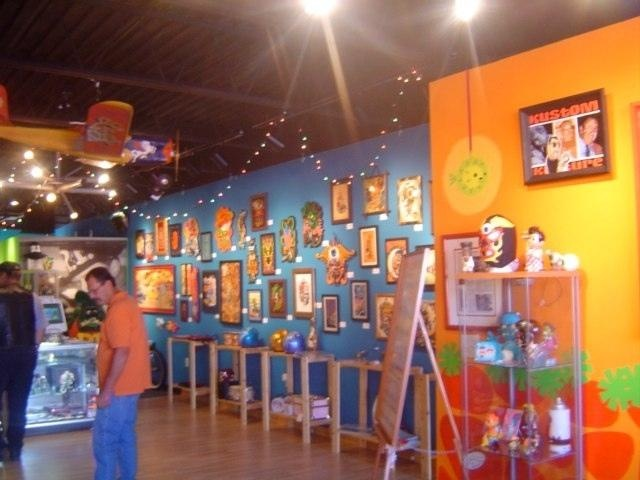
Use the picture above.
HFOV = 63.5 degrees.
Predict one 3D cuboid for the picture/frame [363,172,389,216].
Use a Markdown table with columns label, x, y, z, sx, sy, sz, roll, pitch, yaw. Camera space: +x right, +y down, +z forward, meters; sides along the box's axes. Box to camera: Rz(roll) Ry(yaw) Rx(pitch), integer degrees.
| label | x | y | z | sx | sy | sz | roll | pitch | yaw |
| --- | --- | --- | --- | --- | --- | --- | --- | --- | --- |
| picture/frame | 0.696 | -0.565 | 6.323 | 0.069 | 0.495 | 0.523 | 5 | -6 | -37 |

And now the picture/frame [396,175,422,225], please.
| label | x | y | z | sx | sy | sz | roll | pitch | yaw |
| --- | --- | --- | --- | --- | --- | --- | --- | --- | --- |
| picture/frame | 1.038 | -0.454 | 5.963 | 0.031 | 0.543 | 0.358 | 4 | -7 | -40 |

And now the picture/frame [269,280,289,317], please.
| label | x | y | z | sx | sy | sz | roll | pitch | yaw |
| --- | --- | --- | --- | --- | --- | --- | --- | --- | --- |
| picture/frame | -0.593 | 0.857 | 7.670 | 0.080 | 0.726 | 0.520 | 4 | -7 | -43 |

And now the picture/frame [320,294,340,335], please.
| label | x | y | z | sx | sy | sz | roll | pitch | yaw |
| --- | --- | --- | --- | --- | --- | --- | --- | --- | --- |
| picture/frame | 0.142 | 0.979 | 6.860 | 0.047 | 0.715 | 0.505 | 4 | -6 | -38 |

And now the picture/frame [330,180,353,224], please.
| label | x | y | z | sx | sy | sz | roll | pitch | yaw |
| --- | --- | --- | --- | --- | --- | --- | --- | --- | --- |
| picture/frame | 0.296 | -0.504 | 6.749 | 0.060 | 0.805 | 0.534 | 3 | -5 | -36 |

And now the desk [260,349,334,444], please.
| label | x | y | z | sx | sy | sz | roll | pitch | yaw |
| --- | --- | --- | --- | --- | --- | --- | --- | --- | --- |
| desk | -0.278 | 2.068 | 6.834 | 0.559 | 1.080 | 1.093 | 4 | -6 | -37 |

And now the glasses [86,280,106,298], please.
| label | x | y | z | sx | sy | sz | roll | pitch | yaw |
| --- | --- | --- | --- | --- | --- | --- | --- | --- | --- |
| glasses | -1.856 | 0.404 | 4.331 | 0.131 | 0.090 | 0.170 | 2 | -6 | 41 |

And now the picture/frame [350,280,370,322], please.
| label | x | y | z | sx | sy | sz | roll | pitch | yaw |
| --- | --- | --- | --- | --- | --- | --- | --- | --- | --- |
| picture/frame | 0.505 | 0.755 | 6.486 | 0.032 | 0.511 | 0.318 | 3 | -7 | -38 |

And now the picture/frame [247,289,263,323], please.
| label | x | y | z | sx | sy | sz | roll | pitch | yaw |
| --- | --- | --- | --- | --- | --- | --- | --- | --- | --- |
| picture/frame | -1.017 | 1.020 | 8.137 | 0.051 | 0.682 | 0.508 | 3 | -6 | -41 |

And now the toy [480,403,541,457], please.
| label | x | y | z | sx | sy | sz | roll | pitch | yaw |
| --- | --- | --- | --- | --- | --- | --- | --- | --- | --- |
| toy | 1.381 | 1.329 | 3.749 | 0.407 | 0.358 | 0.271 | -4 | -6 | 26 |

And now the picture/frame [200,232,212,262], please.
| label | x | y | z | sx | sy | sz | roll | pitch | yaw |
| --- | --- | --- | --- | --- | --- | --- | --- | --- | --- |
| picture/frame | -2.043 | 0.110 | 9.294 | 0.034 | 0.657 | 0.473 | 4 | -7 | -40 |

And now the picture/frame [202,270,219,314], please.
| label | x | y | z | sx | sy | sz | roll | pitch | yaw |
| --- | --- | --- | --- | --- | --- | --- | --- | --- | --- |
| picture/frame | -1.929 | 0.902 | 9.153 | 0.096 | 1.011 | 0.715 | 3 | -6 | -39 |

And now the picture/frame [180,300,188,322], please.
| label | x | y | z | sx | sy | sz | roll | pitch | yaw |
| --- | --- | --- | --- | --- | --- | --- | --- | --- | --- |
| picture/frame | -2.602 | 1.341 | 9.892 | 0.054 | 0.541 | 0.407 | 4 | -6 | -39 |

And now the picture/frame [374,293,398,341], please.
| label | x | y | z | sx | sy | sz | roll | pitch | yaw |
| --- | --- | --- | --- | --- | --- | --- | --- | --- | --- |
| picture/frame | 0.769 | 0.908 | 6.165 | 0.046 | 0.536 | 0.345 | 3 | -6 | -31 |

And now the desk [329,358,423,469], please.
| label | x | y | z | sx | sy | sz | roll | pitch | yaw |
| --- | --- | --- | --- | --- | --- | --- | --- | --- | --- |
| desk | 0.579 | 1.906 | 5.976 | 0.685 | 1.053 | 1.721 | 3 | -7 | -34 |

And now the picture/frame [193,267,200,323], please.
| label | x | y | z | sx | sy | sz | roll | pitch | yaw |
| --- | --- | --- | --- | --- | --- | --- | --- | --- | --- |
| picture/frame | -2.308 | 0.984 | 9.565 | 0.078 | 1.021 | 0.295 | 3 | -7 | -36 |

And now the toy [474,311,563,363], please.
| label | x | y | z | sx | sy | sz | roll | pitch | yaw |
| --- | --- | --- | --- | --- | --- | --- | --- | --- | --- |
| toy | 1.429 | 0.692 | 3.751 | 0.493 | 0.306 | 0.339 | -1 | -4 | -1 |

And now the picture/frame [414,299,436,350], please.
| label | x | y | z | sx | sy | sz | roll | pitch | yaw |
| --- | --- | --- | --- | --- | --- | --- | --- | --- | --- |
| picture/frame | 1.160 | 0.921 | 5.732 | 0.242 | 0.525 | 0.151 | -3 | -6 | 19 |

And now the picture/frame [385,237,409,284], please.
| label | x | y | z | sx | sy | sz | roll | pitch | yaw |
| --- | --- | --- | --- | --- | --- | --- | --- | --- | --- |
| picture/frame | 0.906 | 0.236 | 6.080 | 0.083 | 0.536 | 0.366 | 2 | -6 | -30 |

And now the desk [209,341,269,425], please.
| label | x | y | z | sx | sy | sz | roll | pitch | yaw |
| --- | --- | --- | --- | --- | --- | --- | --- | --- | --- |
| desk | -1.198 | 2.136 | 7.747 | 0.493 | 1.089 | 1.102 | 5 | -9 | -36 |

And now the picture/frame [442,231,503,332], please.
| label | x | y | z | sx | sy | sz | roll | pitch | yaw |
| --- | --- | --- | --- | --- | --- | --- | --- | --- | --- |
| picture/frame | 1.226 | 0.320 | 4.085 | 0.075 | 1.080 | 0.770 | 1 | -4 | -23 |

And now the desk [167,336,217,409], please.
| label | x | y | z | sx | sy | sz | roll | pitch | yaw |
| --- | --- | --- | --- | --- | --- | --- | --- | --- | --- |
| desk | -2.185 | 2.268 | 8.892 | 0.490 | 1.106 | 1.163 | 4 | -8 | -33 |

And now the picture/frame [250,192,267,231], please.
| label | x | y | z | sx | sy | sz | roll | pitch | yaw |
| --- | --- | --- | --- | --- | --- | --- | --- | --- | --- |
| picture/frame | -0.950 | -0.453 | 8.088 | 0.076 | 0.755 | 0.544 | 4 | -7 | -38 |

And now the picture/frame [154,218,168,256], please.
| label | x | y | z | sx | sy | sz | roll | pitch | yaw |
| --- | --- | --- | --- | --- | --- | --- | --- | --- | --- |
| picture/frame | -3.254 | -0.077 | 10.590 | 0.068 | 0.946 | 0.704 | 3 | -5 | -41 |

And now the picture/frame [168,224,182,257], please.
| label | x | y | z | sx | sy | sz | roll | pitch | yaw |
| --- | --- | --- | --- | --- | --- | --- | --- | --- | --- |
| picture/frame | -2.851 | -0.005 | 10.160 | 0.085 | 0.834 | 0.602 | 3 | -3 | -41 |

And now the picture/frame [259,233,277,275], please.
| label | x | y | z | sx | sy | sz | roll | pitch | yaw |
| --- | --- | --- | --- | --- | --- | --- | --- | --- | --- |
| picture/frame | -0.804 | 0.213 | 7.936 | 0.061 | 0.626 | 0.426 | 3 | -7 | -37 |

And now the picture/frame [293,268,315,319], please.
| label | x | y | z | sx | sy | sz | roll | pitch | yaw |
| --- | --- | --- | --- | --- | --- | --- | --- | --- | --- |
| picture/frame | -0.231 | 0.737 | 7.273 | 0.093 | 0.679 | 0.448 | 3 | -7 | -33 |
